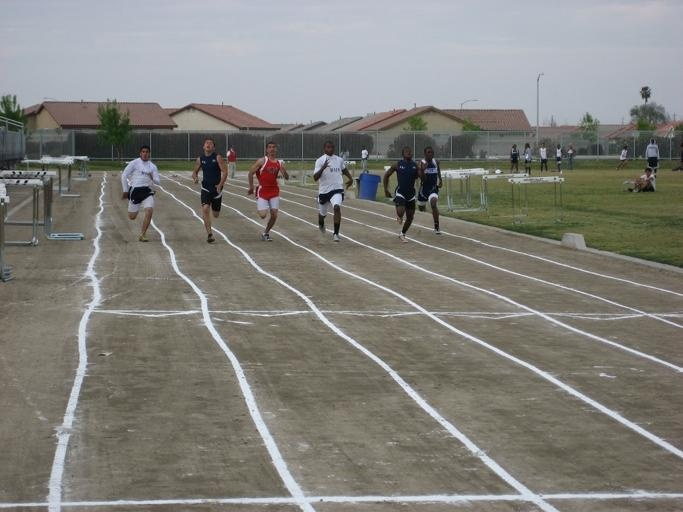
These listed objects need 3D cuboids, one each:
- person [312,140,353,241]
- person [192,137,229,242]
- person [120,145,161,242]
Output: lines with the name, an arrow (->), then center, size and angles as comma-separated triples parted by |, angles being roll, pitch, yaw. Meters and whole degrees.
person -> -0.258, -1.409, 21.281 | 0.953, 2.152, 0.743 | 1, 11, -19
person -> -2.456, -1.470, 20.605 | 0.930, 2.334, 0.839 | -2, 11, -20
person -> -4.008, -1.394, 20.618 | 0.988, 2.275, 0.853 | -4, 11, -24
